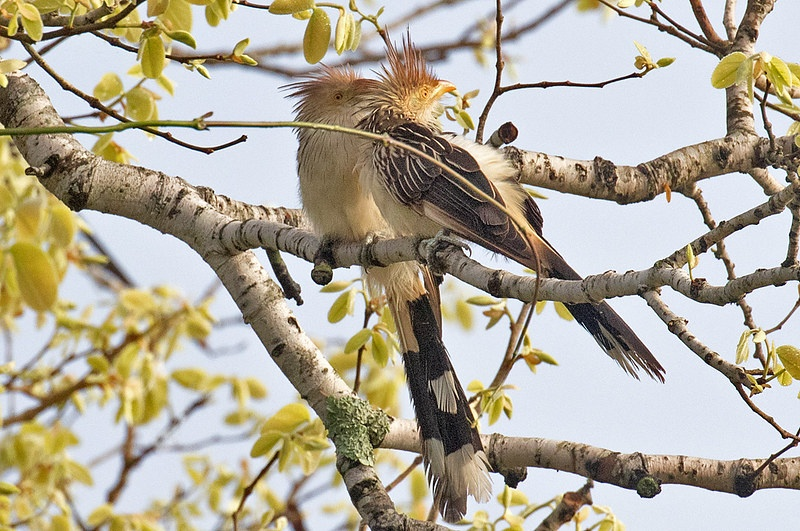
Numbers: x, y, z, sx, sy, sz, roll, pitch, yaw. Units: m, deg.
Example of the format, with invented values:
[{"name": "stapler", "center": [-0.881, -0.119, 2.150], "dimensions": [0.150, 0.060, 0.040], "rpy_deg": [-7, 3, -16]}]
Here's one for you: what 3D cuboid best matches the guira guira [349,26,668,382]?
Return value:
[{"name": "guira guira", "center": [0.418, -0.374, 5.737], "dimensions": [2.168, 0.561, 1.088], "rpy_deg": [25, -76, 36]}]
